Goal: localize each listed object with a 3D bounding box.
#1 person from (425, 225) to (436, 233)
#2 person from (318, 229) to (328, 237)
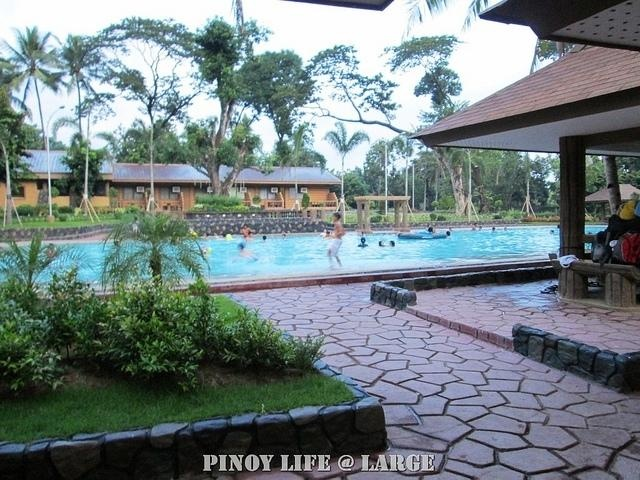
[{"bbox_3d":[5.874,-0.524,24.575,0.387,0.474,1.261,-2,-3,7],"label":"person"},{"bbox_3d":[0.182,-0.260,20.393,0.339,0.440,1.059,0,1,-7],"label":"person"}]
